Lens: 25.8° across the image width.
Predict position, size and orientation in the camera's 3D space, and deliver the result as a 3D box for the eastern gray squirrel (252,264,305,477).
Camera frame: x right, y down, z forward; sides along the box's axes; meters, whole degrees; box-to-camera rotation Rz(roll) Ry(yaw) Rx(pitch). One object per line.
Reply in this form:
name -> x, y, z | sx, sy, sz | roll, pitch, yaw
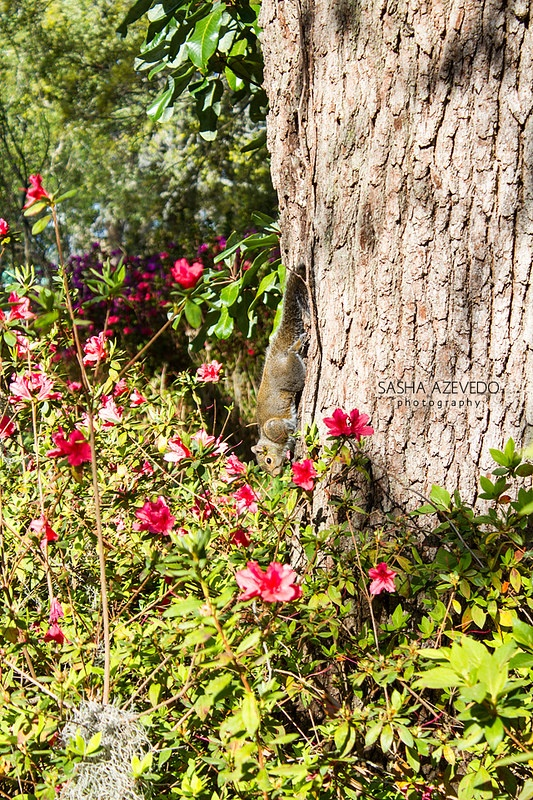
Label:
eastern gray squirrel -> 0.074, -0.090, 4.456 | 0.233, 0.708, 0.212 | -17, 26, -39
